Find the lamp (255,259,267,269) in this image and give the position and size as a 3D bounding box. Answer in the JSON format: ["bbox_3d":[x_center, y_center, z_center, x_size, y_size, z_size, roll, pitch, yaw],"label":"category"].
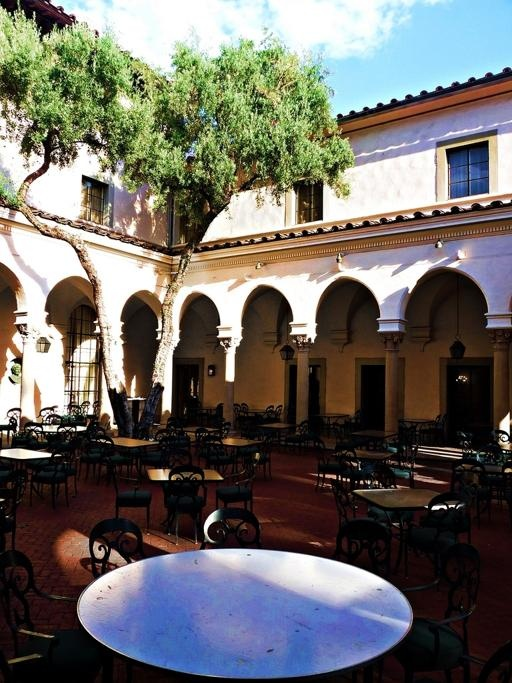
[{"bbox_3d":[0.062,-1.864,15.010,0.217,0.172,0.357,4,-5,-34],"label":"lamp"}]

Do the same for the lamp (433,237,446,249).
[{"bbox_3d":[3.597,-1.924,12.051,0.163,0.178,0.181,3,31,16],"label":"lamp"}]

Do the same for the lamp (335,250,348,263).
[{"bbox_3d":[1.860,-1.861,13.566,0.258,0.252,0.210,-1,-4,26],"label":"lamp"}]
